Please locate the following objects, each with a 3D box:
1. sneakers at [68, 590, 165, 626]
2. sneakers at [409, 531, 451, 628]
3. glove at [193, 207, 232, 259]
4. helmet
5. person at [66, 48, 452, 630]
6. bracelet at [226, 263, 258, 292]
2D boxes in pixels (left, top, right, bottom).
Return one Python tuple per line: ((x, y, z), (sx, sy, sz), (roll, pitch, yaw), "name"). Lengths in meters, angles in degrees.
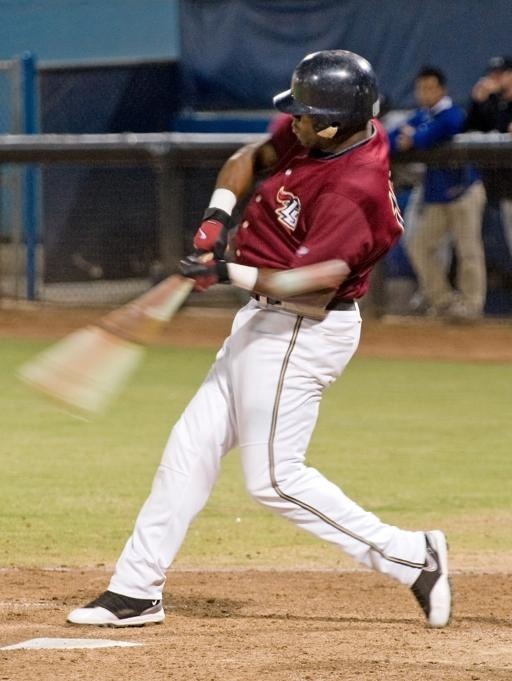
((-0.369, 0.742, 2.796), (0.296, 0.100, 0.095), (4, -7, -12), "sneakers")
((0.496, 0.673, 2.856), (0.144, 0.257, 0.104), (-6, -8, -8), "sneakers")
((-0.125, -0.286, 2.751), (0.103, 0.058, 0.144), (16, 50, 11), "glove")
((0.199, -0.632, 2.583), (0.308, 0.187, 0.197), (6, 29, 6), "helmet")
((0.061, 0.018, 2.714), (0.967, 1.580, 0.475), (3, 3, 11), "person")
((-0.033, -0.165, 2.559), (0.081, 0.071, 0.068), (8, 28, 15), "bracelet")
